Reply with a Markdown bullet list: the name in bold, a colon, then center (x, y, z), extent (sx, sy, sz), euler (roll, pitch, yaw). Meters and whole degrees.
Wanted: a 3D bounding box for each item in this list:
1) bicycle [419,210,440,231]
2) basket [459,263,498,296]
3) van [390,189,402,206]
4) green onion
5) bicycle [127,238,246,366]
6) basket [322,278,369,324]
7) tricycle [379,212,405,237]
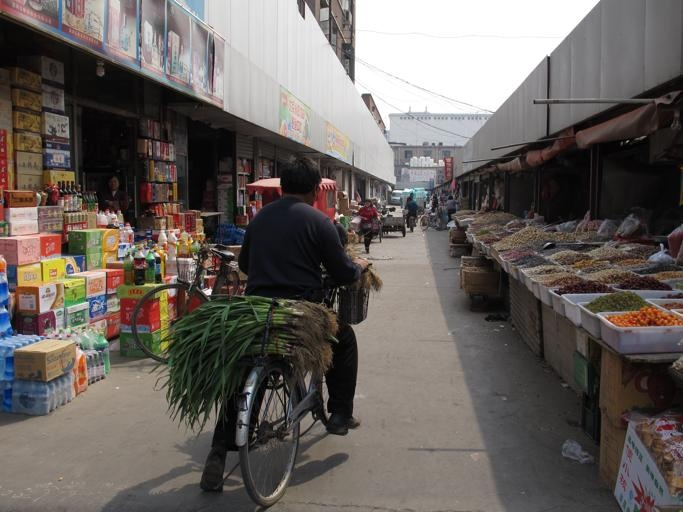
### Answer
- **bicycle**: center (5.533, -2.258, 33.852), extent (1.364, 1.007, 0.863), euler (0, 2, -11)
- **basket**: center (2.488, 0.448, 9.678), extent (0.487, 0.365, 0.540), euler (2, 7, 4)
- **van**: center (7.506, -7.886, 74.308), extent (1.835, 2.297, 3.925), euler (2, 12, 9)
- **green onion**: center (-0.689, 0.661, 3.676), extent (0.920, 0.612, 1.007), euler (2, 16, 14)
- **bicycle**: center (-1.667, 0.418, 6.703), extent (1.810, 1.382, 0.873), euler (4, 6, -13)
- **basket**: center (0.034, 0.382, 4.450), extent (0.323, 0.403, 0.378), euler (2, 5, 5)
- **tricycle**: center (2.656, -1.573, 27.420), extent (1.185, 1.118, 1.582), euler (1, 6, 7)
